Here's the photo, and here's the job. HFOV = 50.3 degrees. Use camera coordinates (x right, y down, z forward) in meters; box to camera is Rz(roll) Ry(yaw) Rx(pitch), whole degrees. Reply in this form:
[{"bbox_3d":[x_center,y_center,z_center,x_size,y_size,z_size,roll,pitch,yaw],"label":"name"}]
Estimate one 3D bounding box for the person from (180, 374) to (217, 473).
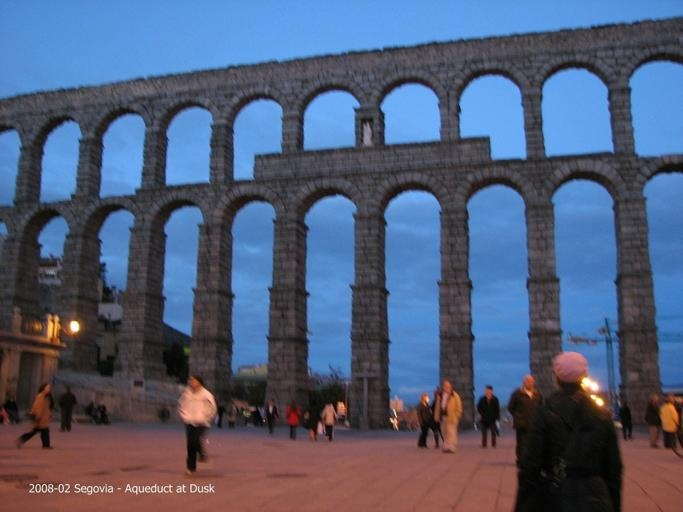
[{"bbox_3d":[-2.744,3.158,13.722,0.650,1.755,1.362,1,-12,-11],"label":"person"}]
